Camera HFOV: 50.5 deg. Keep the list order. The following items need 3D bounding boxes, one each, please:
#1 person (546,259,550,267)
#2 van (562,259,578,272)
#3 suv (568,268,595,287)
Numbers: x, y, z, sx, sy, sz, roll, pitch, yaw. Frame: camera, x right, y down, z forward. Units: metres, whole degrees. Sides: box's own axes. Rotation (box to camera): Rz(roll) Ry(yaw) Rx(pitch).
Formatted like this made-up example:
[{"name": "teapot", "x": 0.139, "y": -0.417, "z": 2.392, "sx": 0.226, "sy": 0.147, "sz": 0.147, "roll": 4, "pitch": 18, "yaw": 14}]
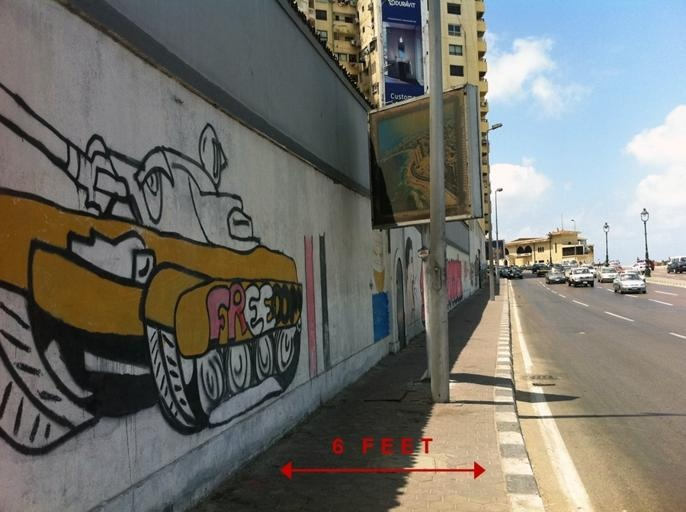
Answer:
[{"name": "person", "x": 34.255, "y": 1.140, "z": 121.592, "sx": 0.910, "sy": 1.657, "sz": 0.507, "roll": 2, "pitch": 0, "yaw": -32}, {"name": "van", "x": 29.224, "y": 1.107, "z": 93.722, "sx": 1.332, "sy": 1.437, "sz": 2.368, "roll": -2, "pitch": -8, "yaw": 13}, {"name": "suv", "x": 17.232, "y": 1.464, "z": 52.869, "sx": 1.225, "sy": 1.222, "sz": 2.433, "roll": -2, "pitch": -11, "yaw": 3}]
